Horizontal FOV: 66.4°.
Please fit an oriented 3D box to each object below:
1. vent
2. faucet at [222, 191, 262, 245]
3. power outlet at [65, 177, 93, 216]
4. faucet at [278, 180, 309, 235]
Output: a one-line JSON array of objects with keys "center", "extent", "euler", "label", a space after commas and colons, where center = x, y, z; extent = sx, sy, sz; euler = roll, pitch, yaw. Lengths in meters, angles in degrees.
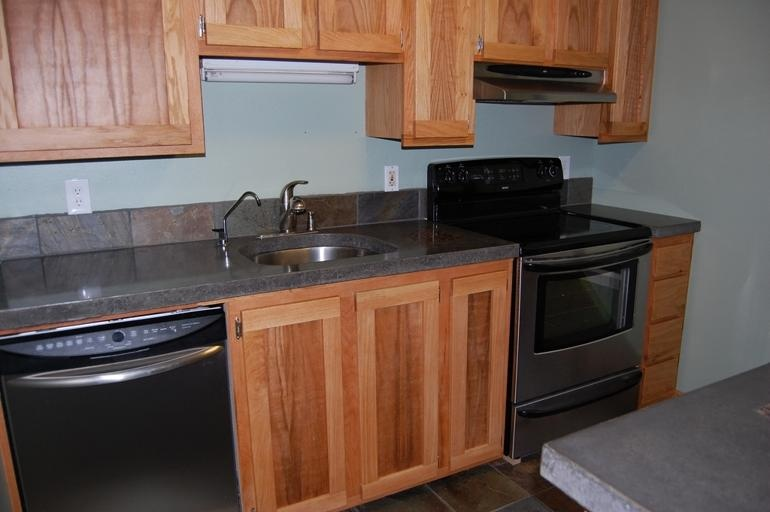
[{"center": [0.849, -0.885, 3.032], "extent": [0.869, 0.236, 0.201], "euler": [-12, 18, -31], "label": "vent"}, {"center": [-0.688, -0.187, 2.746], "extent": [0.238, 0.236, 0.248], "euler": [-7, 16, -11], "label": "faucet"}, {"center": [-1.346, -0.260, 2.577], "extent": [0.106, 0.154, 0.050], "euler": [-11, 18, -22], "label": "power outlet"}, {"center": [-0.427, -0.241, 2.834], "extent": [0.153, 0.244, 0.149], "euler": [2, 18, 22], "label": "faucet"}]
